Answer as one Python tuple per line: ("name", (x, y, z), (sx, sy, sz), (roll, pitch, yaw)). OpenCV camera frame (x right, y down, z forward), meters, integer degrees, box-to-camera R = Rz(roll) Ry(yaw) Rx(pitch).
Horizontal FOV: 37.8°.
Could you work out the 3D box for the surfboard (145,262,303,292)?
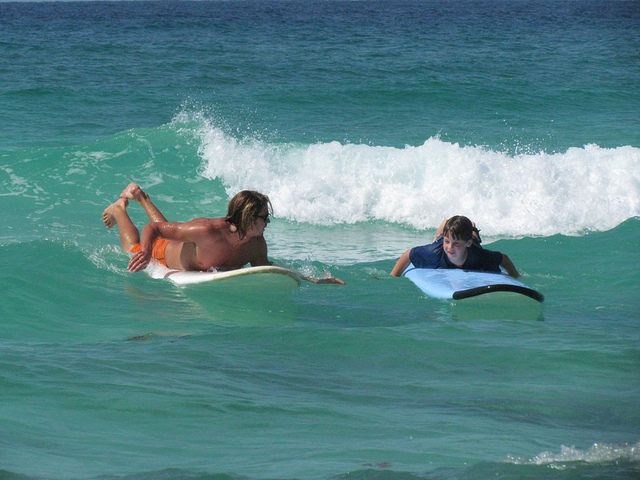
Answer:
("surfboard", (-1.415, 0.584, 13.887), (2.184, 0.569, 0.502), (2, 26, 8))
